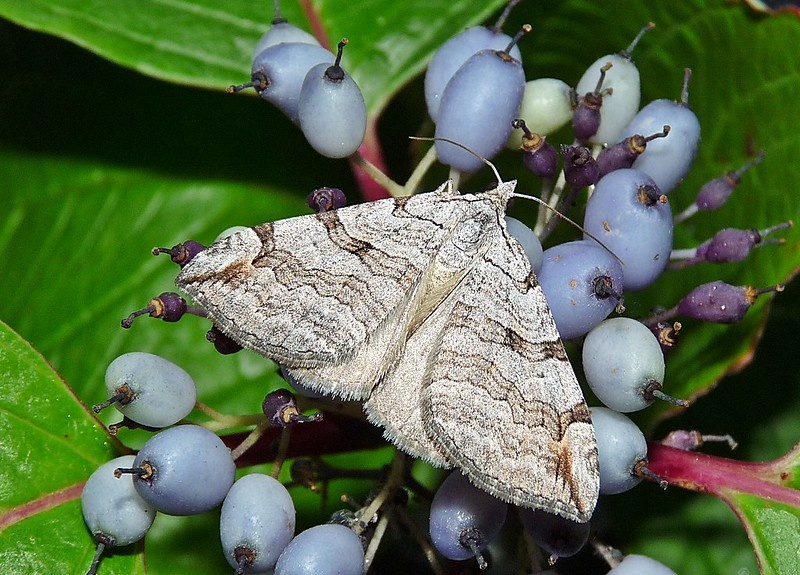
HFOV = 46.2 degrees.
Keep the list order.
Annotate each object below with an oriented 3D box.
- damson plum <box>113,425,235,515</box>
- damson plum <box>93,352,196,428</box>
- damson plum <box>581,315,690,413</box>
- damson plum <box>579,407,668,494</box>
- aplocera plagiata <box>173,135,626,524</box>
[{"bbox_3d":[-0.340,0.292,1.513,0.163,0.136,0.124,-16,45,-43],"label":"damson plum"},{"bbox_3d":[-0.408,0.169,1.536,0.134,0.100,0.093,-3,50,-7],"label":"damson plum"},{"bbox_3d":[0.365,0.089,1.552,0.182,0.173,0.125,-7,13,-42],"label":"damson plum"},{"bbox_3d":[0.357,0.280,1.524,0.122,0.109,0.126,10,50,4],"label":"damson plum"},{"bbox_3d":[0.094,-0.001,1.640,0.816,0.069,0.555,36,63,19],"label":"aplocera plagiata"}]
